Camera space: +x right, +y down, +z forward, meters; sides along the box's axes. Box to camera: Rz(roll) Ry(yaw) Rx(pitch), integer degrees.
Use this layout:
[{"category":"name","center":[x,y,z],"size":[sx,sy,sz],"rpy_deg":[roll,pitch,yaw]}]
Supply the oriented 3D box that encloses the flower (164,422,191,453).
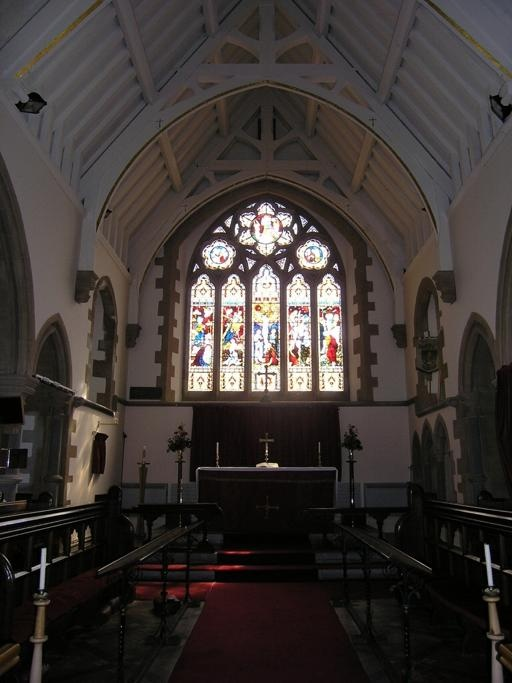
[{"category":"flower","center":[-1.324,1.647,9.494],"size":[0.302,0.428,0.266],"rpy_deg":[-20,-47,19]}]
